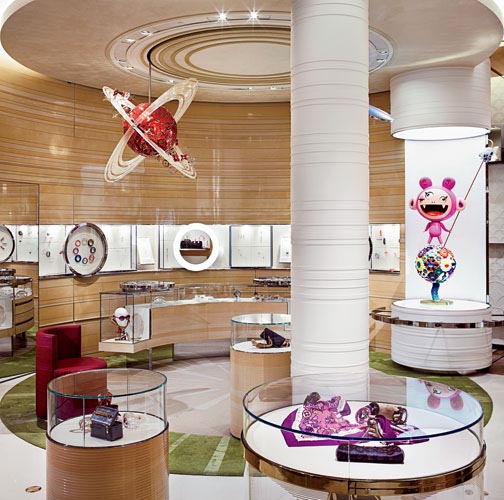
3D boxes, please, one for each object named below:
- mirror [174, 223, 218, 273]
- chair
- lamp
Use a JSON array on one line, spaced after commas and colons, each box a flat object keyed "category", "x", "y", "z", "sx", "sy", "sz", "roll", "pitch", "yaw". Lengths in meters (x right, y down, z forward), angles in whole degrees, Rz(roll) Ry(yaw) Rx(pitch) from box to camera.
[{"category": "mirror", "x": -1.219, "y": -0.073, "z": 9.147, "sx": 1.213, "sy": 0.974, "sz": 0.215, "roll": 7, "pitch": 3, "yaw": -7}, {"category": "chair", "x": -2.370, "y": 1.555, "z": 5.646, "sx": 0.994, "sy": 0.910, "sz": 0.887, "roll": 4, "pitch": 1, "yaw": 14}, {"category": "lamp", "x": -1.308, "y": -1.489, "z": 5.605, "sx": 1.200, "sy": 1.214, "sz": 1.428, "roll": -11, "pitch": 2, "yaw": -20}]
